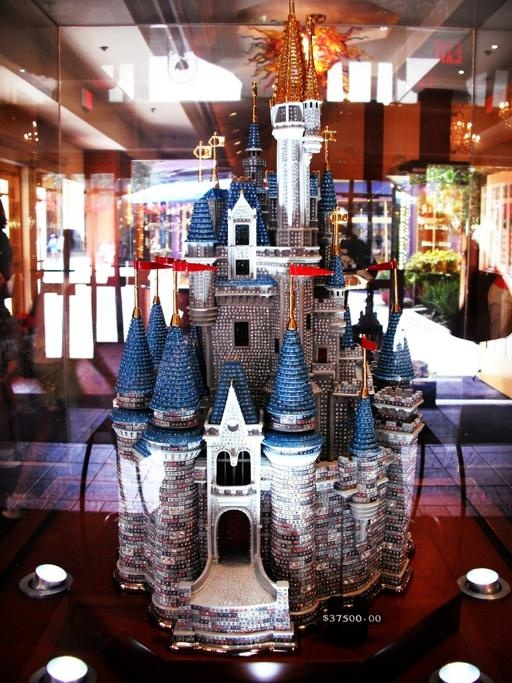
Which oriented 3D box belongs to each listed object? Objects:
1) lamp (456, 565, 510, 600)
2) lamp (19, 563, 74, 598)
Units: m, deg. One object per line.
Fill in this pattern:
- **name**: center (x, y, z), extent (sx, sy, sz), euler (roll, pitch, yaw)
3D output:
- **lamp**: center (2.397, 2.526, 6.868), extent (0.537, 0.170, 0.413), euler (2, 15, 9)
- **lamp**: center (-2.108, 2.442, 6.649), extent (0.323, 0.101, 0.349), euler (13, 16, 41)
